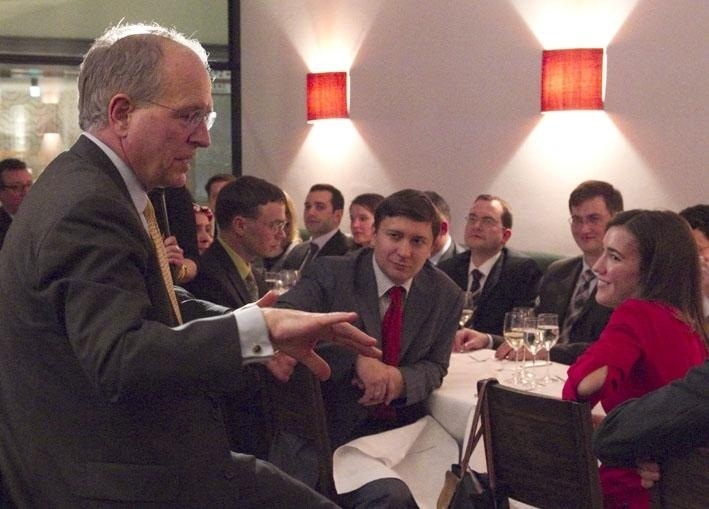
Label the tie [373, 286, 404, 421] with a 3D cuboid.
[{"bbox_3d":[0.142,0.371,2.263,0.099,0.488,0.070,6,-10,8],"label":"tie"}]

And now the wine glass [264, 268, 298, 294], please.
[{"bbox_3d":[-0.375,0.124,2.989,0.160,0.128,0.168,2,4,14],"label":"wine glass"}]

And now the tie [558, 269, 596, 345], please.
[{"bbox_3d":[1.210,0.264,3.162,0.259,0.345,0.115,8,3,38],"label":"tie"}]

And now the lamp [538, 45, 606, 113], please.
[{"bbox_3d":[1.418,-1.104,3.972,0.402,0.413,0.420,2,-2,-44],"label":"lamp"}]

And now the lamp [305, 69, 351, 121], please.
[{"bbox_3d":[-0.228,-1.373,5.239,0.419,0.421,0.406,1,5,4],"label":"lamp"}]

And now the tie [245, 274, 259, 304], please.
[{"bbox_3d":[-0.486,0.163,2.806,0.039,0.121,0.091,-10,-5,22],"label":"tie"}]
